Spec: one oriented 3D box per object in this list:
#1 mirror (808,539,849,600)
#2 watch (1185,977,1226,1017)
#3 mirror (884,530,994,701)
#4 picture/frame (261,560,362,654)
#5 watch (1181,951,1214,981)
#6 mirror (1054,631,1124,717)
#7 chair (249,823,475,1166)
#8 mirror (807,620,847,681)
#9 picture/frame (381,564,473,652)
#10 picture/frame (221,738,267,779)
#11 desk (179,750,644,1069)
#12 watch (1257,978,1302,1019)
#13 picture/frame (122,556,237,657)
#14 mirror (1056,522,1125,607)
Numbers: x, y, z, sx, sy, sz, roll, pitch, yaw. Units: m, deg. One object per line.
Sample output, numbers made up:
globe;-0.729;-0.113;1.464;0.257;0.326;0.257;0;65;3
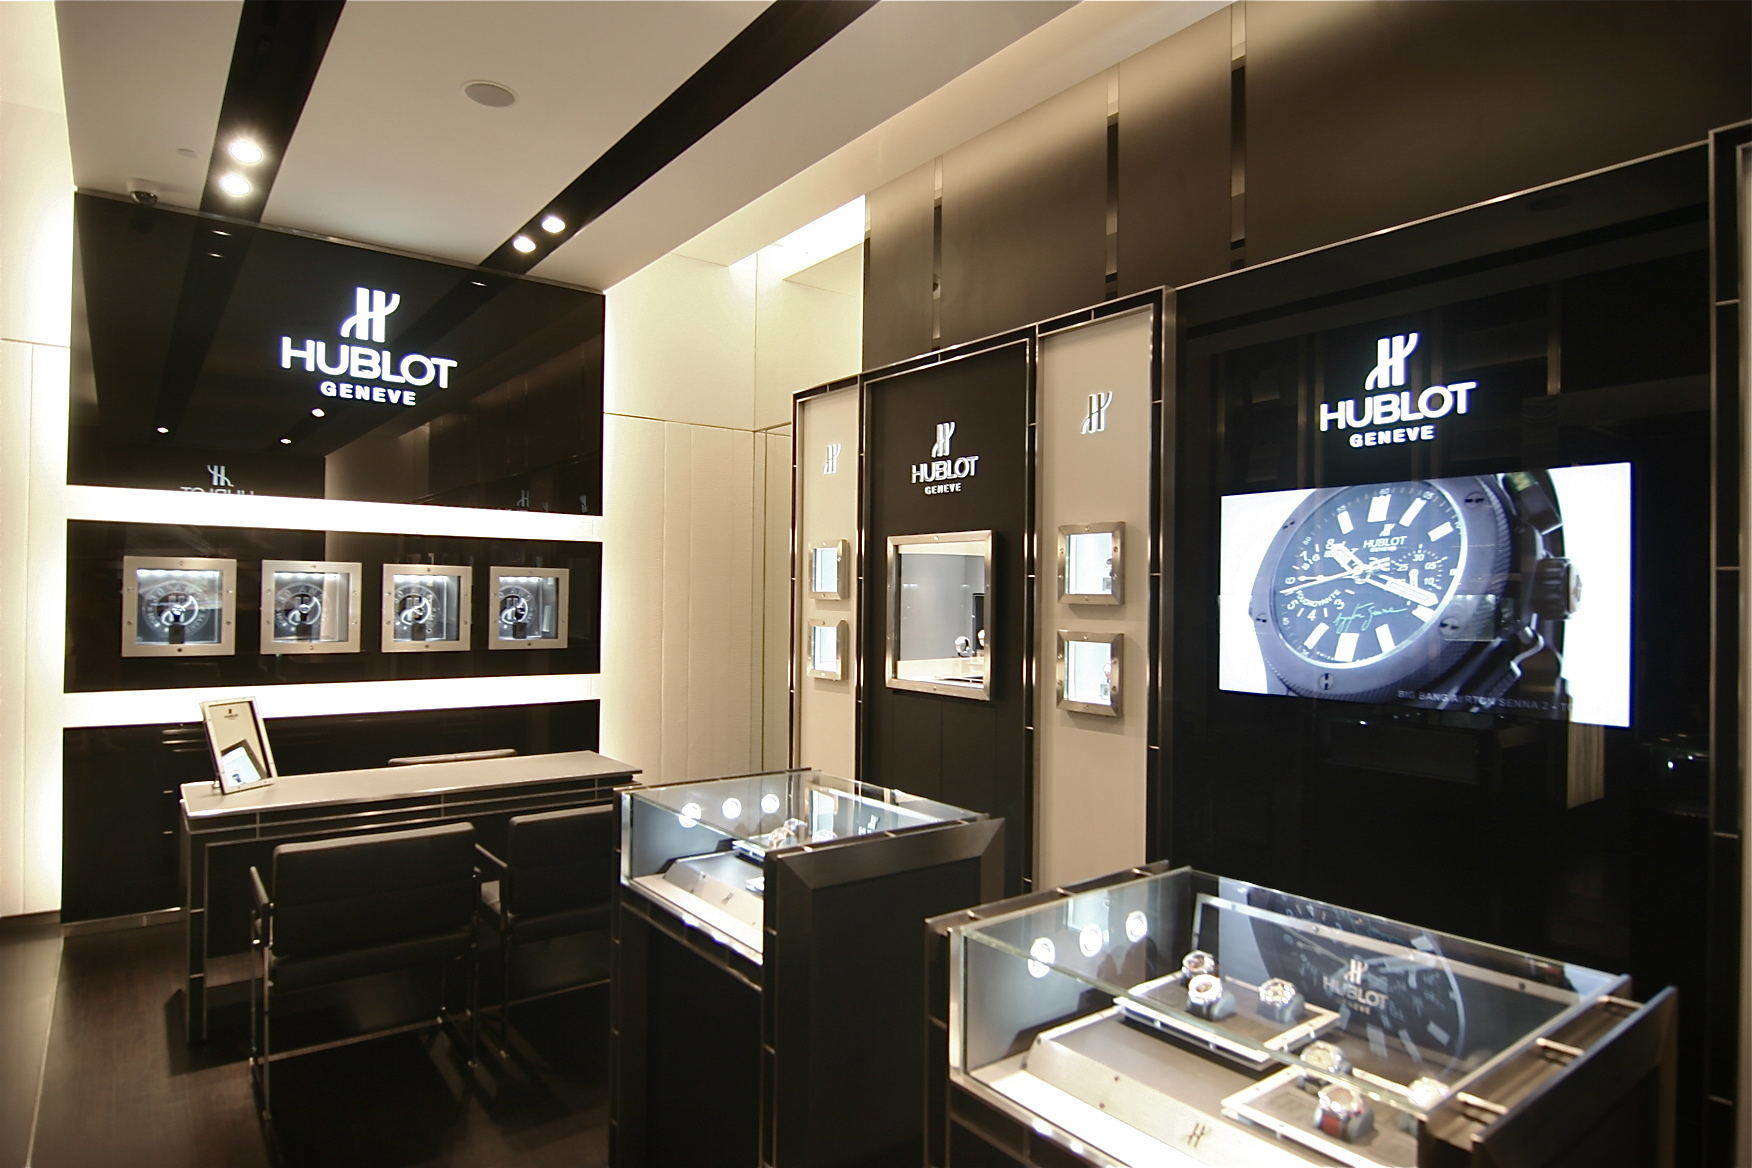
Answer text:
mirror;-0.311;-0.104;8.033;0.063;0.370;0.384;3;-5;-34
watch;1.077;1.332;3.914;0.109;0.121;0.087;1;-10;-12
mirror;0.410;0.175;7.267;0.085;1.142;1.036;3;-3;-36
picture/frame;-3.627;0.135;7.631;0.570;0.654;0.243;2;0;-38
watch;1.085;1.277;4.046;0.061;0.067;0.076;2;12;-33
mirror;1.164;0.474;6.468;0.033;0.465;0.460;2;1;-35
chair;-2.484;1.655;5.796;1.065;1.214;1.115;-7;15;-30
mirror;-0.317;0.428;7.997;0.051;0.342;0.378;3;-8;-29
picture/frame;-3.026;0.145;7.999;0.577;0.586;0.214;1;0;-39
picture/frame;-3.282;0.895;6.201;0.016;0.192;0.225;-18;-8;18
desk;-2.278;1.631;5.823;1.468;0.735;0.462;0;0;-41
watch;1.302;1.324;3.867;0.106;0.102;0.105;8;-12;-35
picture/frame;-4.258;0.120;7.266;0.576;0.623;0.081;3;-3;-35
mirror;1.172;-0.118;6.479;0.048;0.480;0.451;2;-1;-37
